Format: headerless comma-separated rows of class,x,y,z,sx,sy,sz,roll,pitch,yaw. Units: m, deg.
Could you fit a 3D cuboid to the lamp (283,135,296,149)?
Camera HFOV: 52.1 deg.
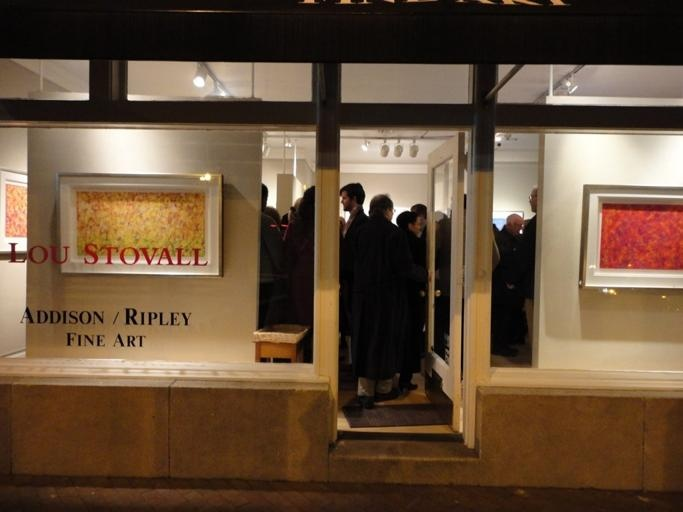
lamp,-0.439,-0.975,6.003,0.103,0.110,0.081,0,1,-4

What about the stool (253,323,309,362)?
stool,-0.536,0.761,6.017,0.390,0.410,0.319,-1,-2,6

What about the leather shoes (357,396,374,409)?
leather shoes,0.229,1.367,6.517,0.093,0.127,0.127,-1,-3,22

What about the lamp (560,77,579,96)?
lamp,1.931,-1.423,5.938,0.152,0.159,0.039,2,-17,4
